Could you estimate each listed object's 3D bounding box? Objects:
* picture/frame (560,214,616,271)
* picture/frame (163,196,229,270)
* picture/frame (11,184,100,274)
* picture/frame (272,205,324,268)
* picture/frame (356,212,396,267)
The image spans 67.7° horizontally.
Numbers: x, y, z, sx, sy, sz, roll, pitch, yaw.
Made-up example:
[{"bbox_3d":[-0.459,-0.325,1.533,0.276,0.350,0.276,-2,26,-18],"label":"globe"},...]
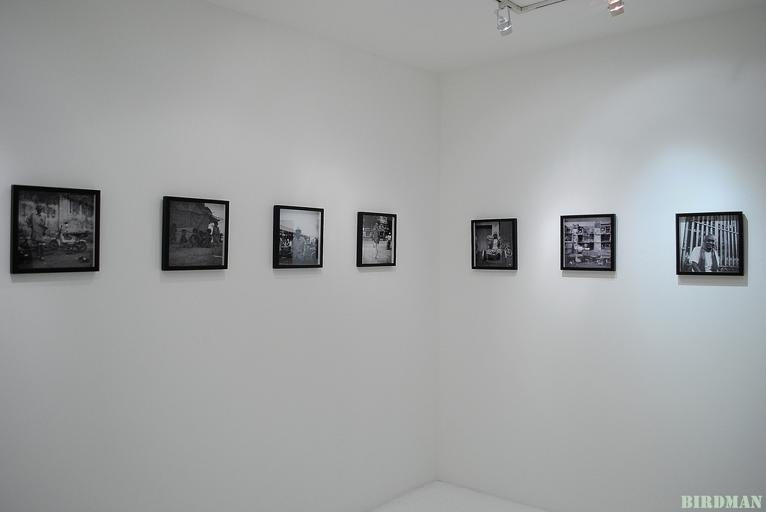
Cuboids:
[{"bbox_3d":[1.587,-0.110,4.429,0.388,0.484,0.036,1,28,24],"label":"picture/frame"},{"bbox_3d":[-1.260,-0.156,3.777,0.453,0.576,0.037,-1,3,-45],"label":"picture/frame"},{"bbox_3d":[-1.985,-0.164,3.414,0.470,0.599,0.023,-4,6,-37],"label":"picture/frame"},{"bbox_3d":[-0.639,-0.145,4.174,0.412,0.512,0.030,-4,6,-42],"label":"picture/frame"},{"bbox_3d":[-0.044,-0.145,4.609,0.418,0.458,0.031,3,-1,42],"label":"picture/frame"}]
